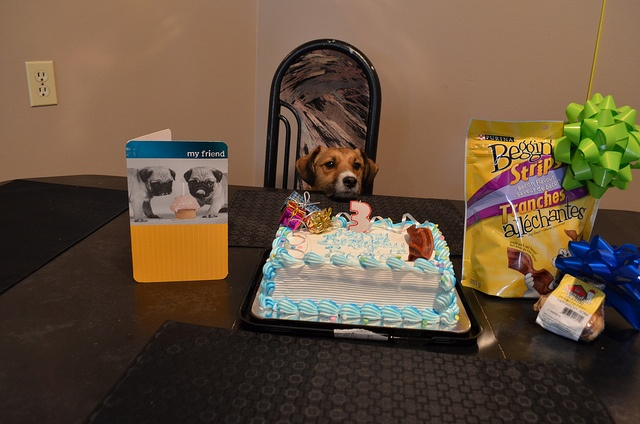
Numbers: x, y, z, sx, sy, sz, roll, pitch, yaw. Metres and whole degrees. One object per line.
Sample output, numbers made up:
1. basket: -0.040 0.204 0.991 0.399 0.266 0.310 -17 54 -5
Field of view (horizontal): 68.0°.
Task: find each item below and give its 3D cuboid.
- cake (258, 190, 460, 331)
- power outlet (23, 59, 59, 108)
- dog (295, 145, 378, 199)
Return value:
1. cake: 0.102 0.123 1.240 0.392 0.136 0.317 2 23 3
2. power outlet: -1.239 -0.573 2.095 0.024 0.239 0.171 22 30 33
3. dog: 0.085 -0.182 2.010 0.258 0.259 0.257 -2 17 -9
